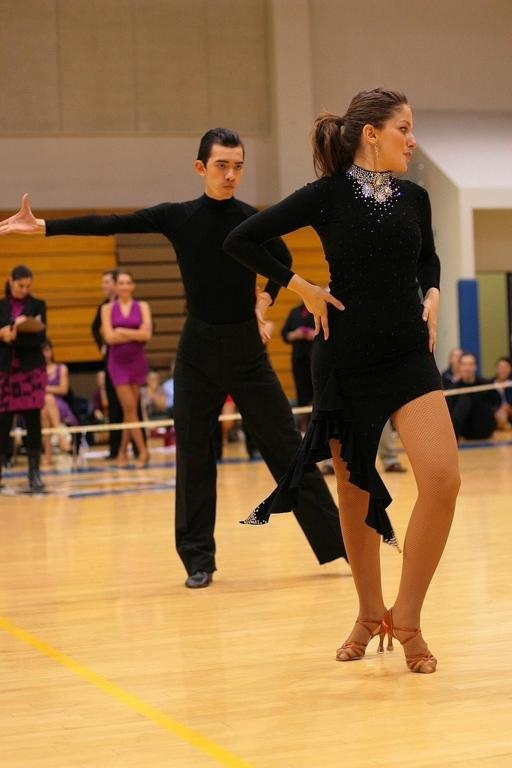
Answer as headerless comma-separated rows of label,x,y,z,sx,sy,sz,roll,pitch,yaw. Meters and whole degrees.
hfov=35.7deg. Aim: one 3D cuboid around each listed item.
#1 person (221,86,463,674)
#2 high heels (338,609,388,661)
person,0.191,-0.009,1.698,0.443,1.210,0.330,-3,-4,12
high heels,0.228,0.547,1.705,0.181,0.088,0.059,5,-10,-42
